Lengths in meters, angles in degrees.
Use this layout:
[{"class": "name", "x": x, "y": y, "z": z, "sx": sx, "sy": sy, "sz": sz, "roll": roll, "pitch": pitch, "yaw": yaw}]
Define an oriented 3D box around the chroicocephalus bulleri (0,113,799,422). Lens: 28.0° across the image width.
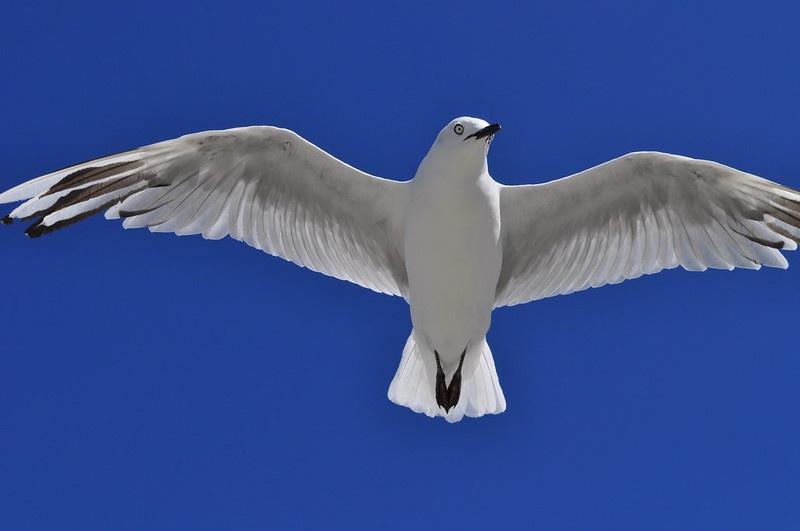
[{"class": "chroicocephalus bulleri", "x": 0.201, "y": -0.068, "z": 10.156, "sx": 4.627, "sy": 0.931, "sz": 1.669, "roll": 0, "pitch": -49, "yaw": 5}]
